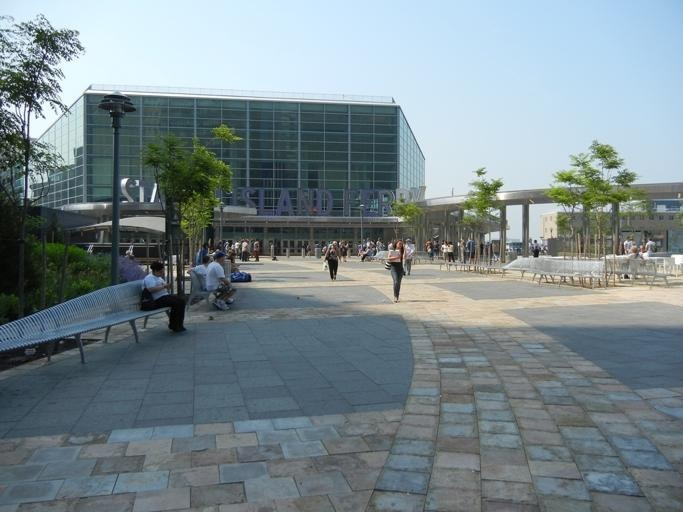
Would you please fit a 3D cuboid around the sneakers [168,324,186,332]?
[{"bbox_3d":[-3.290,1.442,9.813,0.336,0.191,0.122,0,0,-8],"label":"sneakers"}]

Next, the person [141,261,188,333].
[{"bbox_3d":[-3.540,0.787,9.772,0.936,1.257,0.633,4,-1,-13],"label":"person"}]

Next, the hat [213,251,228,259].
[{"bbox_3d":[-3.052,-0.012,12.302,0.237,0.227,0.574,-1,4,-18],"label":"hat"}]

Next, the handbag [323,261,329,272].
[{"bbox_3d":[-0.950,0.655,29.989,0.292,0.641,0.810,-4,1,-4],"label":"handbag"}]
